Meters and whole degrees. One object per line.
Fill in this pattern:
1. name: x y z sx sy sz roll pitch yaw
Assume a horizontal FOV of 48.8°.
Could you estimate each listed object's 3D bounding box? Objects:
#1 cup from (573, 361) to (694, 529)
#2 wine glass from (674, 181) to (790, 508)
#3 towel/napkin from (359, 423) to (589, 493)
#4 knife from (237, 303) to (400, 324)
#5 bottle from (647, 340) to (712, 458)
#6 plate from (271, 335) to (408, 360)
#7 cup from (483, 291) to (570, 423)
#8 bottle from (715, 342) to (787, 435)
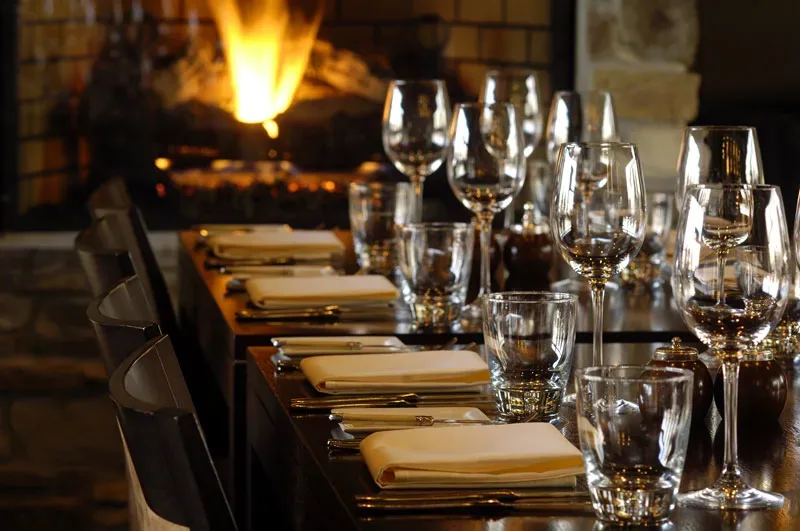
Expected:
1. cup: 0.201 0.159 0.816 0.116 0.143 0.116 0 1 0
2. wine glass: 0.311 0.069 0.811 0.108 0.289 0.105 -1 4 14
3. towel/napkin: 0.070 0.175 0.822 0.109 0.029 0.088 -1 5 -2
4. knife: -0.123 0.073 1.360 0.251 0.024 0.071 -3 3 -13
5. bottle: 0.299 0.148 1.006 0.093 0.157 0.103 1 1 12
6. plate: -0.079 0.103 1.136 0.102 0.022 0.065 -3 -1 -10
7. cup: 0.143 0.098 0.970 0.117 0.146 0.117 0 1 0
8. bottle: 0.396 0.137 1.013 0.079 0.100 0.080 2 -3 0
